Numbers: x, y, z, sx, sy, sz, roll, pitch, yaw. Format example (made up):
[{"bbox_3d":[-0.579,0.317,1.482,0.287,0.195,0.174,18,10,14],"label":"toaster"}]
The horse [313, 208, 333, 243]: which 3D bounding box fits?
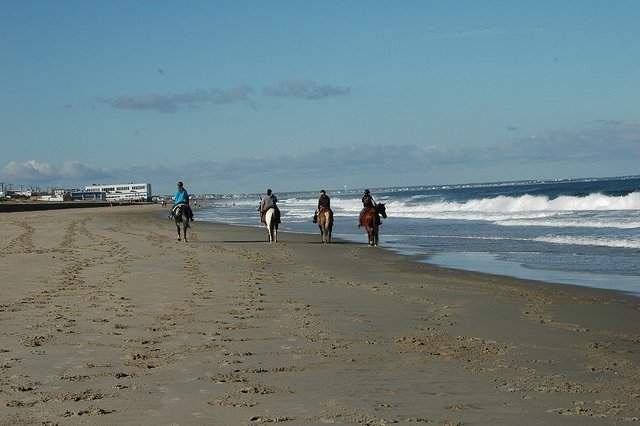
[{"bbox_3d":[0.150,0.391,32.539,0.677,1.419,1.606,-2,8,0],"label":"horse"}]
